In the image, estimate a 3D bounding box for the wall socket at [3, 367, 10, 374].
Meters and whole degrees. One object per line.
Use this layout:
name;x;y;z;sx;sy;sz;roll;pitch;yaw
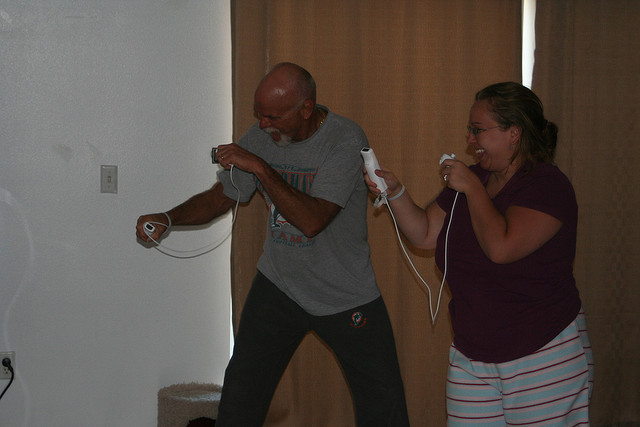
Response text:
wall socket;-1.768;0.885;3.430;0.026;0.038;0.035;1;-18;11

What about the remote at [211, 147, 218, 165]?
remote;-0.504;-0.270;2.909;0.026;0.077;0.073;2;-5;-10

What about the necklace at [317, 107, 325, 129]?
necklace;0.010;-0.464;2.952;0.018;0.075;0.069;-6;5;-26

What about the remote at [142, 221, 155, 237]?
remote;-0.821;0.074;2.908;0.048;0.065;0.023;-45;9;-8

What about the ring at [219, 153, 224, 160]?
ring;-0.463;-0.263;2.860;0.006;0.019;0.014;-2;-24;-45

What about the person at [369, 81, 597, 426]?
person;0.789;0.173;2.745;0.737;1.466;0.461;-6;10;6
